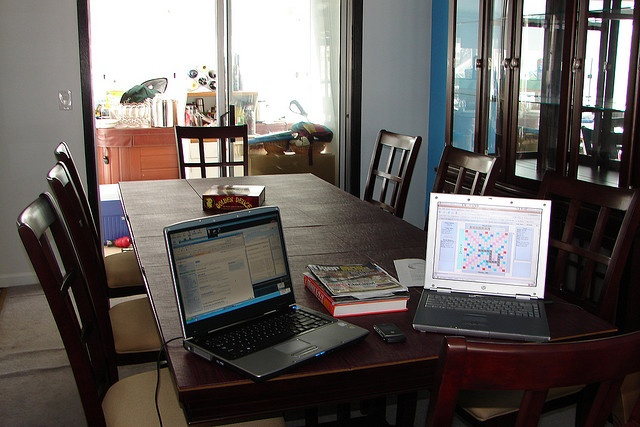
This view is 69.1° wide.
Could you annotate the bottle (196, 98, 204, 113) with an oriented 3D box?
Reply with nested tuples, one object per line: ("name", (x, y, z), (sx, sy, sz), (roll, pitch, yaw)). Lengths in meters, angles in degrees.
("bottle", (-1.211, -1.097, 4.710), (0.113, 0.109, 0.030), (1, 7, 21))

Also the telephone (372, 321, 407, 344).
("telephone", (0.216, 0.374, 1.455), (0.067, 0.028, 0.102), (-12, 19, -28))

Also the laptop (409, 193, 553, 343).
("laptop", (0.553, 0.170, 1.551), (0.538, 0.318, 0.549), (-6, 17, -1))

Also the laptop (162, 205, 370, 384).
("laptop", (-0.153, 0.216, 1.388), (0.478, 0.340, 0.469), (13, 14, 43))

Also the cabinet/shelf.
("cabinet/shelf", (-0.886, -0.742, 4.256), (0.642, 1.083, 0.676), (-5, 42, -11))
